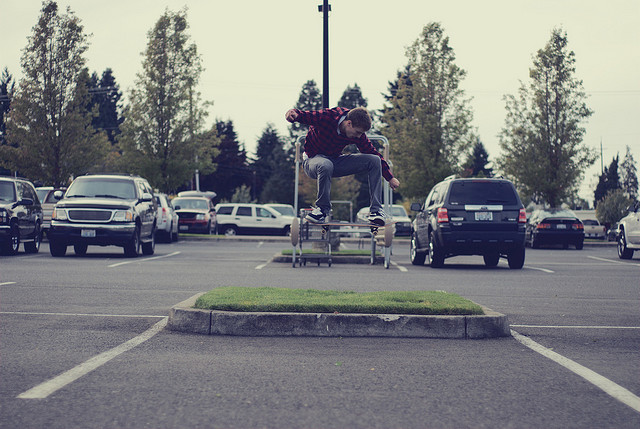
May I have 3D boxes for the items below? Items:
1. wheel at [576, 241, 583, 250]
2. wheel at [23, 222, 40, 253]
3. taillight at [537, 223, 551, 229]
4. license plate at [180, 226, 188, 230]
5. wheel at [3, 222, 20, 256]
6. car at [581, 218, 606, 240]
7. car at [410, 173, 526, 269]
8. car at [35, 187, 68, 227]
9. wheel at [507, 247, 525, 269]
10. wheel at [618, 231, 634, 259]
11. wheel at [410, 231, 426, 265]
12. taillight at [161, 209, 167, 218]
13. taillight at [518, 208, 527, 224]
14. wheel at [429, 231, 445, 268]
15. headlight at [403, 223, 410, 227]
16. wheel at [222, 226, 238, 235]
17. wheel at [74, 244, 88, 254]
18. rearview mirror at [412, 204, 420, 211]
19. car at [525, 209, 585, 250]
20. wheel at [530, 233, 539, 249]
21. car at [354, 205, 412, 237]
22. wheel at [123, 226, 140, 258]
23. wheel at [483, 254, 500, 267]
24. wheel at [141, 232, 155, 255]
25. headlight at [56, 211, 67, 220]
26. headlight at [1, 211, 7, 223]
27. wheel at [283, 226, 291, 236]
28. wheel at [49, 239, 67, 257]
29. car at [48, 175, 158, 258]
[{"bbox_3d":[9.724,1.183,31.892,0.300,0.296,0.345,7,14,25],"label":"wheel"},{"bbox_3d":[-7.949,0.630,23.579,0.220,0.859,0.869,3,0,8],"label":"wheel"},{"bbox_3d":[8.259,0.432,31.327,0.462,0.206,0.111,3,0,10],"label":"taillight"},{"bbox_3d":[-5.985,0.592,37.594,0.343,0.148,0.899,3,0,-11],"label":"license plate"},{"bbox_3d":[-8.064,0.628,22.242,0.310,0.893,0.637,3,0,-4],"label":"wheel"},{"bbox_3d":[14.524,0.829,45.249,1.016,0.894,1.964,0,5,6],"label":"car"},{"bbox_3d":[3.577,0.053,21.516,1.604,1.463,3.094,1,3,-4],"label":"car"},{"bbox_3d":[-7.891,-0.171,25.087,1.021,1.074,1.919,0,-5,-2],"label":"car"},{"bbox_3d":[4.799,1.057,20.872,0.393,0.536,0.517,3,0,12],"label":"wheel"},{"bbox_3d":[8.892,0.878,24.720,0.237,0.829,0.774,0,2,-3],"label":"wheel"},{"bbox_3d":[2.593,0.894,22.352,0.260,0.894,0.835,1,1,-3],"label":"wheel"},{"bbox_3d":[-5.634,-0.029,30.907,0.205,0.432,0.237,-1,5,8],"label":"taillight"},{"bbox_3d":[4.810,0.040,20.170,0.121,0.367,0.354,3,0,28],"label":"taillight"},{"bbox_3d":[2.847,0.836,20.636,0.230,0.792,0.741,4,-10,-5],"label":"wheel"},{"bbox_3d":[4.031,0.480,39.477,0.283,0.148,0.157,3,0,-23],"label":"headlight"},{"bbox_3d":[-4.119,0.733,39.224,0.762,0.381,0.279,3,0,27],"label":"wheel"},{"bbox_3d":[-6.574,0.953,23.428,0.354,0.287,0.352,2,-2,0],"label":"wheel"},{"bbox_3d":[2.577,-0.191,22.785,0.167,0.135,0.024,1,7,-4],"label":"rearview mirror"},{"bbox_3d":[8.712,0.633,31.536,1.329,1.069,3.104,0,3,6],"label":"car"},{"bbox_3d":[8.054,1.021,32.010,0.480,0.141,0.489,1,4,0],"label":"wheel"},{"bbox_3d":[3.622,0.209,40.714,1.473,1.312,2.690,2,-7,-36],"label":"car"},{"bbox_3d":[-4.996,0.703,22.633,0.254,0.820,0.768,-1,3,7],"label":"wheel"},{"bbox_3d":[4.528,1.200,22.441,0.351,0.400,0.141,-1,4,-11],"label":"wheel"},{"bbox_3d":[-4.867,0.813,24.138,0.200,0.595,0.558,-2,-10,9],"label":"wheel"},{"bbox_3d":[-6.652,0.026,21.980,0.334,0.214,0.055,3,0,26],"label":"headlight"},{"bbox_3d":[-8.053,0.058,21.732,0.124,0.288,0.085,3,0,-23],"label":"headlight"},{"bbox_3d":[-1.468,0.768,38.456,0.282,0.433,1.410,3,0,-6],"label":"wheel"},{"bbox_3d":[-6.899,0.880,22.501,0.396,0.426,0.403,1,3,0],"label":"wheel"},{"bbox_3d":[-5.882,0.006,23.157,2.439,2.218,2.623,3,0,-5],"label":"car"}]
